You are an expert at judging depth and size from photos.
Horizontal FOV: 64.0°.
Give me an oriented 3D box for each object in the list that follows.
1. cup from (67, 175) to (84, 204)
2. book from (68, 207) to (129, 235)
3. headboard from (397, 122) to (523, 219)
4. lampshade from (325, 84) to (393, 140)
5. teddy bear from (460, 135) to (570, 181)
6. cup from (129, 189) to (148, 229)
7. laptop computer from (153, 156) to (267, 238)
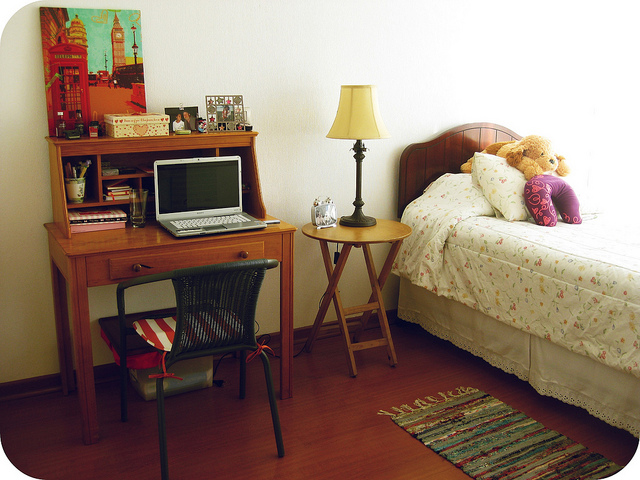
[{"bbox_3d":[-1.355,-0.279,2.847,0.120,0.166,0.132,2,9,0],"label":"cup"},{"bbox_3d":[-1.255,-0.127,2.904,0.302,0.111,0.226,-9,16,-26],"label":"book"},{"bbox_3d":[0.992,-0.489,3.743,0.710,0.496,0.028,-19,34,-23],"label":"headboard"},{"bbox_3d":[0.245,-0.814,3.263,0.331,0.336,0.250,-11,17,-32],"label":"lampshade"},{"bbox_3d":[1.539,-0.623,3.850,0.611,0.267,0.663,-8,16,-13],"label":"teddy bear"},{"bbox_3d":[-1.045,-0.159,2.925,0.122,0.198,0.120,-2,-2,0],"label":"cup"},{"bbox_3d":[-0.627,-0.259,2.888,0.543,0.363,0.391,-7,18,-27],"label":"laptop computer"}]
